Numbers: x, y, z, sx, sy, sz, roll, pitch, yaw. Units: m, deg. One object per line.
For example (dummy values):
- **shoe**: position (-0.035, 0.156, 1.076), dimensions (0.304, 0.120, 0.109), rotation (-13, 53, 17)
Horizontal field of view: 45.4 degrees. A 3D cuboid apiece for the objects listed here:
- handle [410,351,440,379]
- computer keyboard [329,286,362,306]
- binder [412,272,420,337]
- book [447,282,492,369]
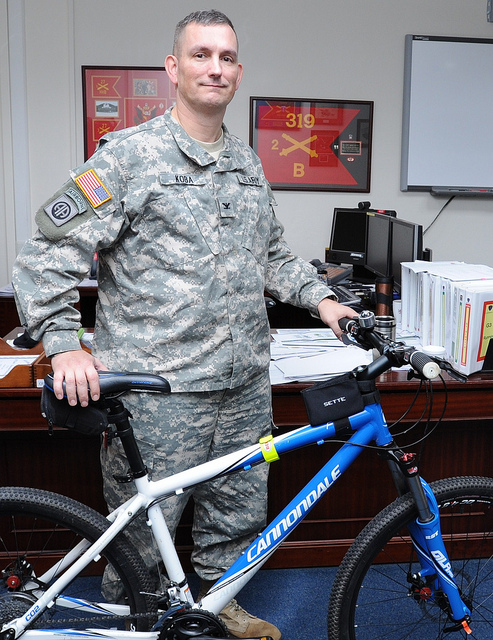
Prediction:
- **handle**: position (0.300, 0.078, 1.004), dimensions (0.025, 0.025, 0.071), rotation (6, 10, -4)
- **computer keyboard**: position (0.383, -0.095, 2.265), dimensions (0.145, 0.031, 0.141), rotation (-6, 22, -30)
- **binder**: position (0.635, -0.060, 2.210), dimensions (0.032, 0.246, 0.101), rotation (3, 11, 15)
- **book**: position (0.673, 0.017, 1.762), dimensions (0.254, 0.269, 0.044), rotation (-9, 18, -36)
